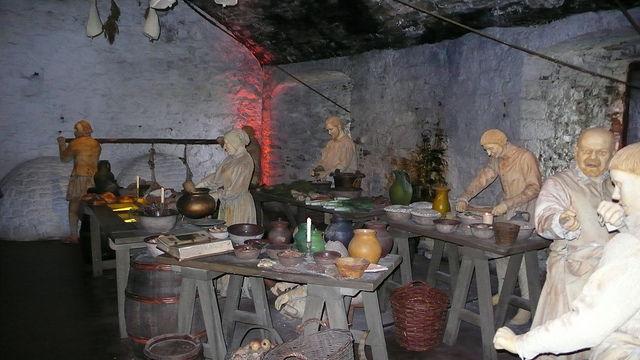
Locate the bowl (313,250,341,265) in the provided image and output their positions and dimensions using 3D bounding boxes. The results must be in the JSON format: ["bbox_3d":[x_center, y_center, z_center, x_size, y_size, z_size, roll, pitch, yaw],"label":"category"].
[{"bbox_3d":[0.067,0.825,4.560,0.196,0.059,0.173,4,5,8],"label":"bowl"}]

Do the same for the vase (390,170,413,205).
[{"bbox_3d":[1.286,0.114,6.724,0.345,0.532,0.231,1,6,16],"label":"vase"}]

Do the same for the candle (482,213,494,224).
[{"bbox_3d":[2.131,0.488,5.334,0.143,0.098,0.107,3,-4,-24],"label":"candle"}]

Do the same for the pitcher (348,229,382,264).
[{"bbox_3d":[0.491,0.712,4.633,0.330,0.376,0.338,0,0,1],"label":"pitcher"}]

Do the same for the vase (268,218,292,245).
[{"bbox_3d":[-0.479,0.610,5.030,0.309,0.320,0.292,-3,6,-35],"label":"vase"}]

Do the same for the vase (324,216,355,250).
[{"bbox_3d":[0.261,0.645,5.196,0.446,0.332,0.395,5,1,2],"label":"vase"}]

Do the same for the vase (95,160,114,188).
[{"bbox_3d":[-3.921,-0.111,7.672,0.298,0.470,0.399,-4,6,-39],"label":"vase"}]

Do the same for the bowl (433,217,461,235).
[{"bbox_3d":[1.670,0.596,5.510,0.263,0.082,0.232,-2,5,-7],"label":"bowl"}]

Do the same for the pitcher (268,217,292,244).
[{"bbox_3d":[-0.473,0.627,5.146,0.313,0.326,0.276,1,7,3],"label":"pitcher"}]

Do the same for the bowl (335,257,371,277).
[{"bbox_3d":[0.351,0.908,4.403,0.372,0.163,0.290,-3,5,-36],"label":"bowl"}]

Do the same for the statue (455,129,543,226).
[{"bbox_3d":[2.586,-0.073,6.028,1.031,1.409,1.021,-1,1,-44],"label":"statue"}]

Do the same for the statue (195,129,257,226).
[{"bbox_3d":[-1.336,-0.049,6.272,0.712,1.419,0.550,-1,6,-12],"label":"statue"}]

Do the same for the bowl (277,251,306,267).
[{"bbox_3d":[-0.304,0.847,4.545,0.309,0.147,0.168,0,4,-5],"label":"bowl"}]

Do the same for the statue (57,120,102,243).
[{"bbox_3d":[-4.869,0.035,8.565,1.061,2.327,0.924,1,0,-25],"label":"statue"}]

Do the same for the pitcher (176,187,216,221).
[{"bbox_3d":[-1.654,0.307,5.607,0.467,0.307,0.427,0,6,-4],"label":"pitcher"}]

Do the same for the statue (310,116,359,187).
[{"bbox_3d":[0.272,-0.462,8.057,0.680,1.442,0.918,3,-1,42],"label":"statue"}]

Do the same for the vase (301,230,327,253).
[{"bbox_3d":[-0.047,0.696,4.780,0.289,0.261,0.264,-1,7,-22],"label":"vase"}]

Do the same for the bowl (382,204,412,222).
[{"bbox_3d":[1.091,0.459,5.954,0.282,0.120,0.279,1,4,0],"label":"bowl"}]

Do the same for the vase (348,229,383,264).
[{"bbox_3d":[0.499,0.731,4.634,0.347,0.375,0.144,0,5,3],"label":"vase"}]

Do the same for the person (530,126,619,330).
[{"bbox_3d":[2.321,0.353,3.861,0.660,1.734,1.501,4,6,34],"label":"person"}]

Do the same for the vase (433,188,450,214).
[{"bbox_3d":[1.761,0.296,6.092,0.230,0.359,0.376,1,5,15],"label":"vase"}]

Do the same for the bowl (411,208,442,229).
[{"bbox_3d":[1.453,0.519,5.759,0.328,0.124,0.291,3,2,5],"label":"bowl"}]

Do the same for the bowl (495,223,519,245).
[{"bbox_3d":[2.235,0.638,5.079,0.280,0.164,0.253,-2,5,-21],"label":"bowl"}]
